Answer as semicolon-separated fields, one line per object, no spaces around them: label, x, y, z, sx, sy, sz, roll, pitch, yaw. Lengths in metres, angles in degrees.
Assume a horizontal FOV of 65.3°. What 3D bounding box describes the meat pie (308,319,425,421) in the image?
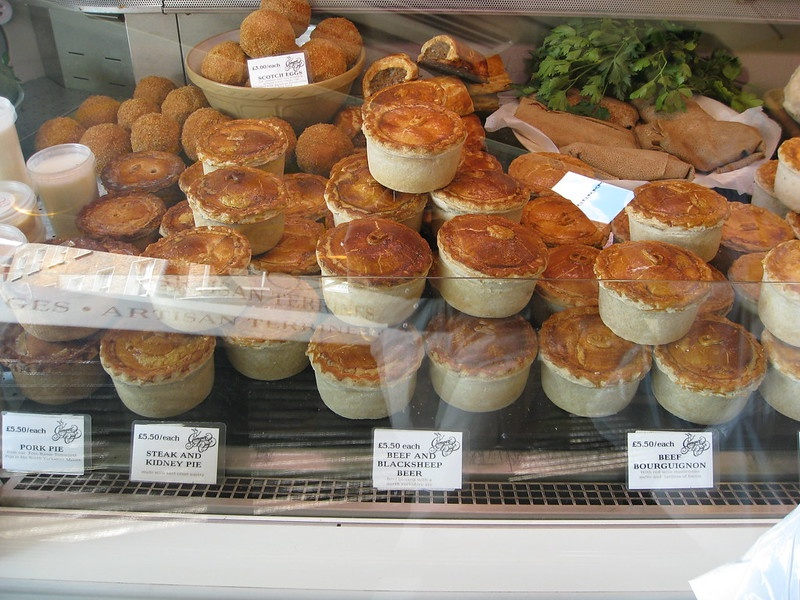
meat pie;-0.081;0.215;1.818;0.373;0.144;0.295;6;34;4
